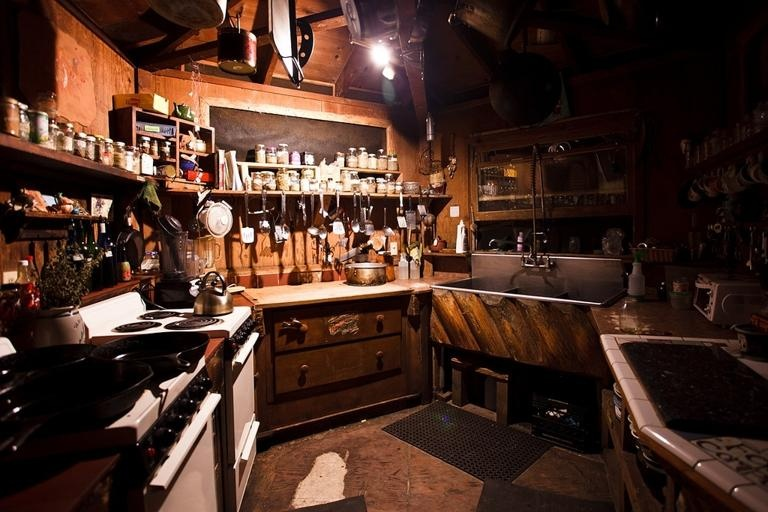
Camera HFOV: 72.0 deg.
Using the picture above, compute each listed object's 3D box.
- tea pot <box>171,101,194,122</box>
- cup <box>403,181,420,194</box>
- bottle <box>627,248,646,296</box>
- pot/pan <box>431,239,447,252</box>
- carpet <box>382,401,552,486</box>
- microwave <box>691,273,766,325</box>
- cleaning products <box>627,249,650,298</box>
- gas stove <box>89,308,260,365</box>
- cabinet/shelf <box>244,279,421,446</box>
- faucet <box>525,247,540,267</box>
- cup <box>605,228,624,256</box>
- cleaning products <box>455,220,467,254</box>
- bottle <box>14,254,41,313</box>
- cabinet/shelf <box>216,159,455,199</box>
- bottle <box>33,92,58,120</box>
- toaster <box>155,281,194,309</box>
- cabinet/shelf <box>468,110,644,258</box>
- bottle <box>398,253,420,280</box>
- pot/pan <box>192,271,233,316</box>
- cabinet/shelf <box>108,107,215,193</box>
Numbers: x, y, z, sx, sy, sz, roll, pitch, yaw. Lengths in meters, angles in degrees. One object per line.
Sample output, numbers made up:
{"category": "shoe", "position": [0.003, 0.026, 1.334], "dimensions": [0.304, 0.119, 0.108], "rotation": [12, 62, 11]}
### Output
{"category": "tea pot", "position": [-1.495, -1.085, 3.944], "dimensions": [0.118, 0.109, 0.160], "rotation": [11, 14, 17]}
{"category": "cup", "position": [0.258, -0.635, 4.962], "dimensions": [0.126, 0.090, 0.124], "rotation": [-1, -3, 0]}
{"category": "bottle", "position": [1.805, 0.112, 3.771], "dimensions": [0.110, 0.342, 0.184], "rotation": [-2, 4, 25]}
{"category": "pot/pan", "position": [0.535, -0.103, 5.114], "dimensions": [0.113, 0.113, 0.115], "rotation": [0, -3, -1]}
{"category": "carpet", "position": [0.615, 1.358, 3.930], "dimensions": [1.069, 0.233, 0.662], "rotation": [-1, 4, 39]}
{"category": "microwave", "position": [2.063, 0.257, 3.156], "dimensions": [0.254, 0.229, 0.354], "rotation": [2, 3, 27]}
{"category": "cleaning products", "position": [1.817, 0.120, 3.749], "dimensions": [0.141, 0.354, 0.154], "rotation": [1, 2, -8]}
{"category": "gas stove", "position": [-1.313, 0.486, 3.285], "dimensions": [0.787, 0.191, 0.861], "rotation": [0, 1, -1]}
{"category": "cabinet/shelf", "position": [-0.465, 0.811, 4.353], "dimensions": [1.388, 1.002, 0.821], "rotation": [-5, 4, -25]}
{"category": "faucet", "position": [1.271, 0.003, 4.488], "dimensions": [0.167, 0.182, 0.096], "rotation": [-3, 3, 17]}
{"category": "cup", "position": [1.866, -0.120, 4.285], "dimensions": [0.127, 0.212, 0.117], "rotation": [-4, 3, 0]}
{"category": "cleaning products", "position": [0.717, -0.165, 4.945], "dimensions": [0.097, 0.266, 0.063], "rotation": [-2, 4, 29]}
{"category": "bottle", "position": [-1.852, 0.143, 2.739], "dimensions": [0.088, 0.231, 0.209], "rotation": [-6, 4, -34]}
{"category": "cabinet/shelf", "position": [-0.592, -0.664, 4.602], "dimensions": [1.736, 0.343, 0.274], "rotation": [-5, 4, -26]}
{"category": "bottle", "position": [-1.940, -0.867, 3.019], "dimensions": [0.104, 0.129, 0.163], "rotation": [-6, 4, -33]}
{"category": "toaster", "position": [-1.408, 0.253, 3.541], "dimensions": [0.250, 0.131, 0.057], "rotation": [-4, 3, 2]}
{"category": "cabinet/shelf", "position": [1.508, -0.619, 4.457], "dimensions": [1.300, 1.147, 0.429], "rotation": [-2, -4, 43]}
{"category": "bottle", "position": [0.237, 0.102, 4.972], "dimensions": [0.221, 0.300, 0.115], "rotation": [3, -8, -26]}
{"category": "pot/pan", "position": [-1.133, 0.248, 3.477], "dimensions": [0.270, 0.303, 0.278], "rotation": [4, 9, 22]}
{"category": "cabinet/shelf", "position": [-1.594, -0.743, 3.718], "dimensions": [0.204, 0.577, 0.693], "rotation": [-2, -3, 24]}
